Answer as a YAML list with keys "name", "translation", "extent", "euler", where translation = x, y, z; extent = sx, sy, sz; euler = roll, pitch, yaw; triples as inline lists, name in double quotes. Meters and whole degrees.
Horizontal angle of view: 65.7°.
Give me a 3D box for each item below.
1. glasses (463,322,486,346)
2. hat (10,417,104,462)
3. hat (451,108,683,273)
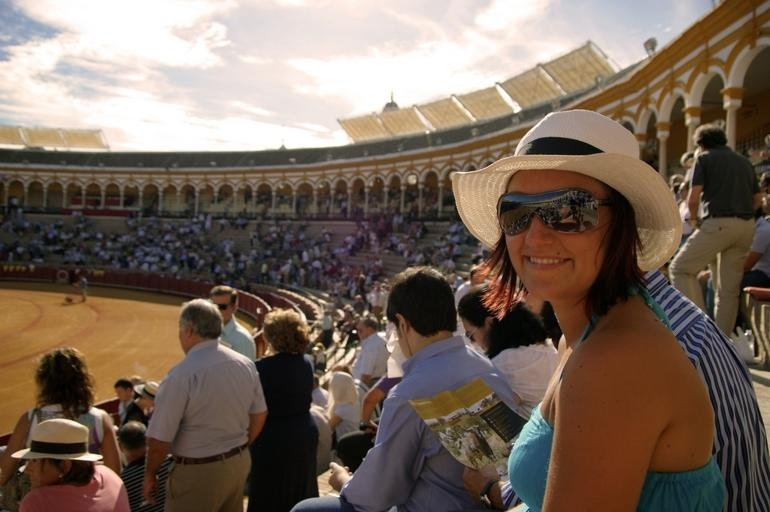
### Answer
- name: "glasses"
  translation: [0.736, 0.625, 4.837]
  extent: [0.069, 0.230, 0.223]
  euler: [-15, -10, 2]
- name: "hat"
  translation: [-2.385, 1.279, 4.414]
  extent: [0.459, 0.179, 0.405]
  euler: [6, -10, -8]
- name: "hat"
  translation: [0.869, -0.480, 3.030]
  extent: [0.903, 0.498, 0.945]
  euler: [43, -33, -26]
